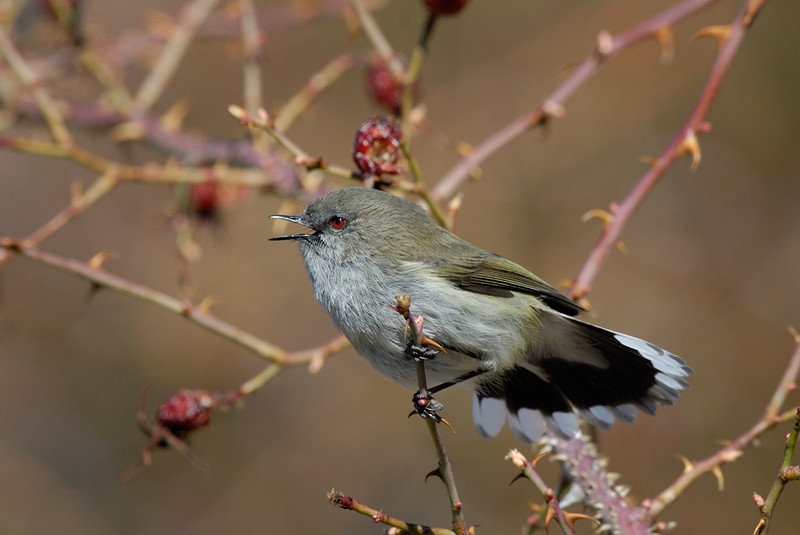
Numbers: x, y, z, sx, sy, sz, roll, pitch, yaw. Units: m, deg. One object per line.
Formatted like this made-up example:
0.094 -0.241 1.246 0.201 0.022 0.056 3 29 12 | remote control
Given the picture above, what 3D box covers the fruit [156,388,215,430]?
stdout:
-0.929 0.614 3.527 0.233 0.081 0.173 9 -78 -4 | fruit
